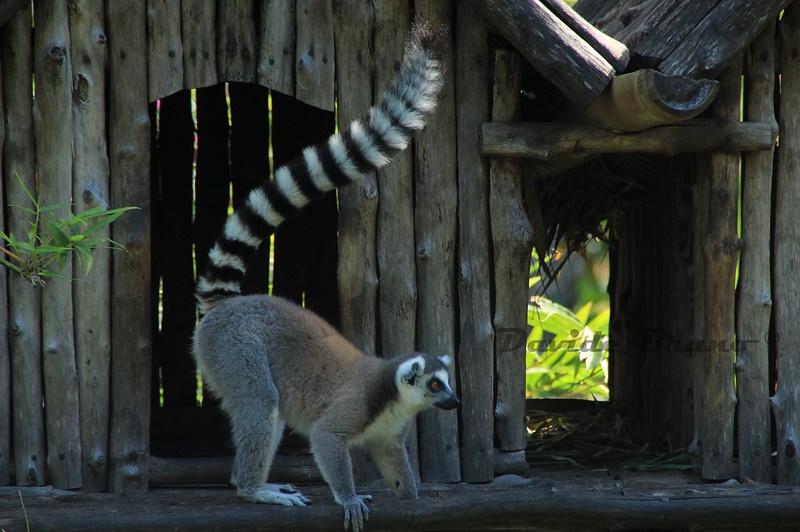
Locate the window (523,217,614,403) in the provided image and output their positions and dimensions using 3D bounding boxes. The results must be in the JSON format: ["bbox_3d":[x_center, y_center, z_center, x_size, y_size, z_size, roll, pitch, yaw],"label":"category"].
[{"bbox_3d":[1.810,0.456,18.941,1.621,1.825,0.470,1,9,-2],"label":"window"}]

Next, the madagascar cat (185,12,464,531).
[{"bbox_3d":[-0.643,0.045,13.900,2.029,3.999,0.816,1,-2,-3],"label":"madagascar cat"}]
